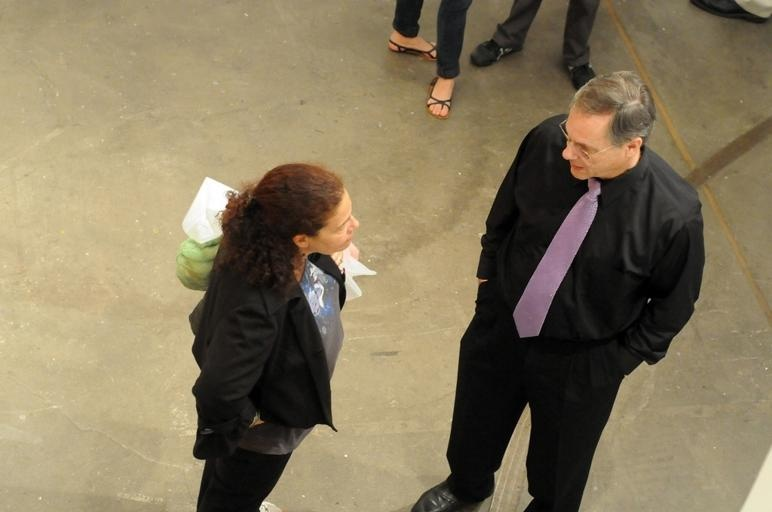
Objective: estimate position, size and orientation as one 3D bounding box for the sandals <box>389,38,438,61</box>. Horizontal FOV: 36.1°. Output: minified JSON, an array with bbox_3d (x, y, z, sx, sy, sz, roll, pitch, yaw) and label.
[{"bbox_3d":[0.213,-1.516,8.837,0.346,0.115,0.142,5,55,-3],"label":"sandals"}]

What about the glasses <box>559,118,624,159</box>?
[{"bbox_3d":[1.118,-0.615,6.478,0.282,0.120,0.215,4,34,-43],"label":"glasses"}]

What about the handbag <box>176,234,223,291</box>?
[{"bbox_3d":[-1.045,0.051,6.547,0.315,0.212,0.274,4,97,10],"label":"handbag"}]

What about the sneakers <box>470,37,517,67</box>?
[{"bbox_3d":[0.773,-1.491,8.862,0.374,0.147,0.155,-16,85,-4],"label":"sneakers"}]
